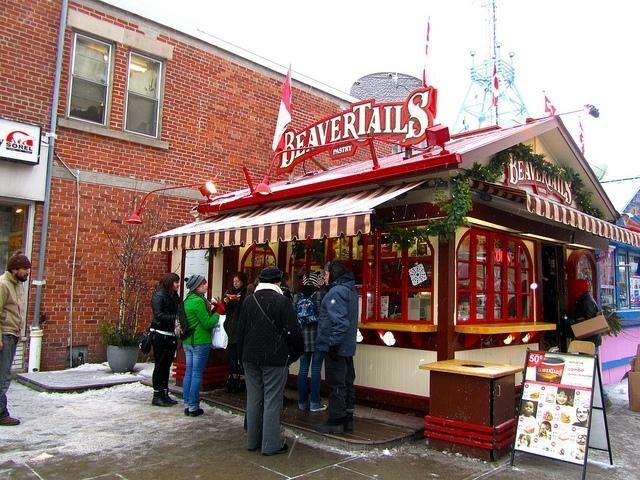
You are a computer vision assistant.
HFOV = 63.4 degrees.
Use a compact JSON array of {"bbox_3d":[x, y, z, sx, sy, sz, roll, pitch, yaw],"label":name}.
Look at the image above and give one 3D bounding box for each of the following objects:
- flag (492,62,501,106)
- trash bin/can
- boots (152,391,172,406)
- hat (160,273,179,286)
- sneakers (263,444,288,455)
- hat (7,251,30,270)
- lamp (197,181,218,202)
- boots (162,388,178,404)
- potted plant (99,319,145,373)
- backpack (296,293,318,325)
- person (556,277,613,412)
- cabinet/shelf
[{"bbox_3d":[4.713,-4.171,13.841,0.128,1.138,1.092,1,0,17],"label":"flag"},{"bbox_3d":[2.276,2.568,7.868,0.878,1.261,1.225,7,-9,-44],"label":"trash bin/can"},{"bbox_3d":[-2.860,2.946,9.627,0.424,0.312,0.176,1,-7,0],"label":"boots"},{"bbox_3d":[-2.819,0.740,9.702,0.208,0.223,0.287,4,6,27],"label":"hat"},{"bbox_3d":[-0.633,3.038,7.512,0.336,0.141,0.125,-1,-2,-39],"label":"sneakers"},{"bbox_3d":[-4.879,0.324,8.383,0.352,0.352,0.280,0,-6,0],"label":"hat"},{"bbox_3d":[-2.838,-1.238,12.974,0.365,0.459,0.723,1,0,-14],"label":"lamp"},{"bbox_3d":[-2.883,2.925,9.708,0.439,0.321,0.172,-6,-9,29],"label":"boots"},{"bbox_3d":[-4.672,2.507,12.296,0.925,1.175,0.832,6,-10,-40],"label":"potted plant"},{"bbox_3d":[-0.191,1.145,8.906,0.422,0.632,0.343,-9,-4,27],"label":"backpack"},{"bbox_3d":[5.746,1.597,11.422,0.664,2.180,0.878,1,0,-6],"label":"person"},{"bbox_3d":[2.297,2.568,7.884,0.891,1.268,1.255,6,-9,-40],"label":"cabinet/shelf"}]
